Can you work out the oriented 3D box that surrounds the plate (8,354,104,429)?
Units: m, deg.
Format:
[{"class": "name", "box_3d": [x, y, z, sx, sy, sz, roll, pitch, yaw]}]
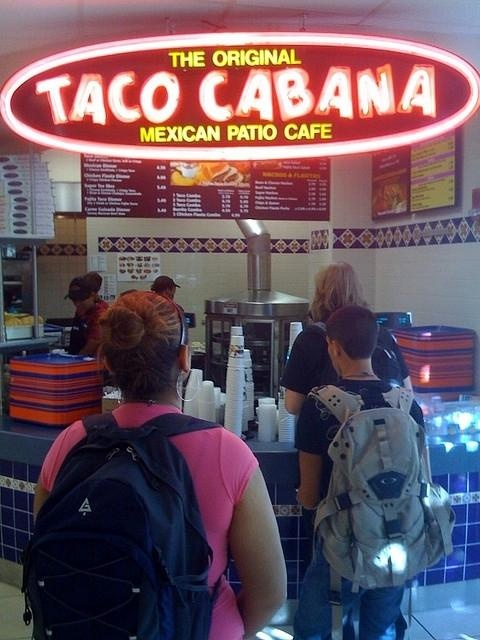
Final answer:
[{"class": "plate", "box_3d": [-0.781, 0.282, 2.420, 0.375, 0.314, 0.383, 3, 3, 34]}]

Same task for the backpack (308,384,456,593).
[{"class": "backpack", "box_3d": [0.435, 0.501, 1.670, 0.418, 0.557, 0.318, -7, 11, 2]}]

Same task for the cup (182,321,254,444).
[{"class": "cup", "box_3d": [-0.041, 0.236, 2.214, 0.317, 0.440, 0.398, 5, 8, 39]}]

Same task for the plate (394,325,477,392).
[{"class": "plate", "box_3d": [1.165, 0.186, 3.280, 0.390, 0.356, 0.400, -2, 2, -8]}]

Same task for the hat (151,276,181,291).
[{"class": "hat", "box_3d": [-0.543, -0.265, 4.040, 0.177, 0.106, 0.125, -10, 11, -38]}]
